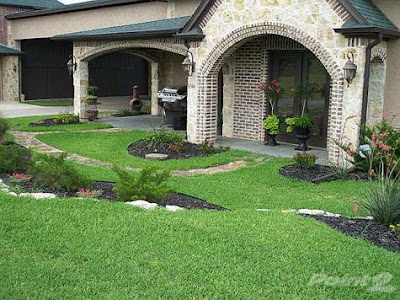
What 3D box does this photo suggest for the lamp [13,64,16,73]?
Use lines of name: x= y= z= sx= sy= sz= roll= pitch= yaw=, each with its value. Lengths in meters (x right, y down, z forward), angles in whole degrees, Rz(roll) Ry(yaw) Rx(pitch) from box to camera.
lamp: x=-12.508 y=-5.450 z=24.350 sx=0.242 sy=0.344 sz=0.153 roll=-3 pitch=2 yaw=-29

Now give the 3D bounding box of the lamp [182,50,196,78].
lamp: x=-0.420 y=-2.997 z=12.679 sx=0.443 sy=0.899 sz=0.349 roll=-4 pitch=12 yaw=-27

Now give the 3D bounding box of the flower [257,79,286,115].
flower: x=2.543 y=-1.856 z=12.850 sx=0.848 sy=1.250 sz=0.983 roll=4 pitch=10 yaw=11

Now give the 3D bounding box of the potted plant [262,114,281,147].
potted plant: x=2.504 y=-0.685 z=12.733 sx=0.572 sy=1.083 sz=0.468 roll=4 pitch=10 yaw=11

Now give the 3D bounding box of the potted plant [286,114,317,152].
potted plant: x=3.429 y=-0.569 z=12.232 sx=0.852 sy=1.139 sz=0.920 roll=2 pitch=5 yaw=26

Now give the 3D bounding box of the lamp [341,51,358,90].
lamp: x=3.906 y=-2.099 z=9.416 sx=0.286 sy=0.913 sz=0.327 roll=9 pitch=12 yaw=37

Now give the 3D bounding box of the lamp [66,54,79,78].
lamp: x=-6.114 y=-4.104 z=17.323 sx=0.409 sy=0.864 sz=1.201 roll=-1 pitch=11 yaw=-19
